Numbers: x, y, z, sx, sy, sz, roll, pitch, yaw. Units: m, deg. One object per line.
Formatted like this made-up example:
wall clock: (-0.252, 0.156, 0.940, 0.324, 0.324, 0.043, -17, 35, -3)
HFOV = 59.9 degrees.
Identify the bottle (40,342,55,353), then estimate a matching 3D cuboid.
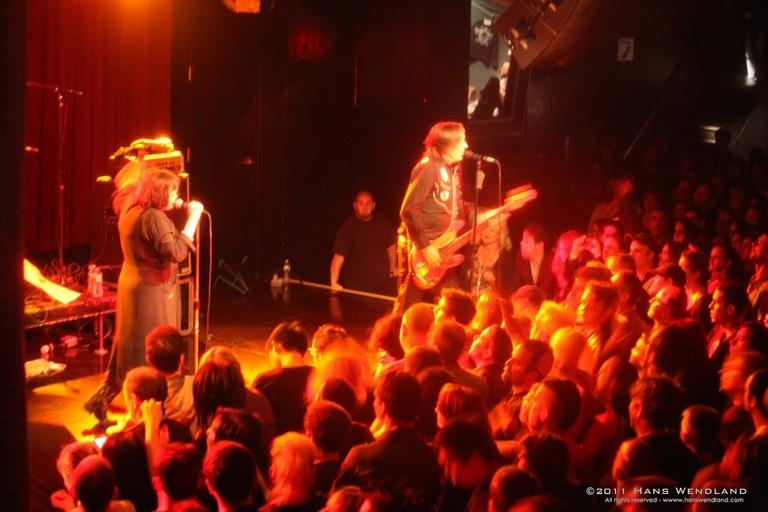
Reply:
bottle: (-2.811, 0.764, 5.553, 0.072, 0.035, 0.083, 0, 6, 31)
